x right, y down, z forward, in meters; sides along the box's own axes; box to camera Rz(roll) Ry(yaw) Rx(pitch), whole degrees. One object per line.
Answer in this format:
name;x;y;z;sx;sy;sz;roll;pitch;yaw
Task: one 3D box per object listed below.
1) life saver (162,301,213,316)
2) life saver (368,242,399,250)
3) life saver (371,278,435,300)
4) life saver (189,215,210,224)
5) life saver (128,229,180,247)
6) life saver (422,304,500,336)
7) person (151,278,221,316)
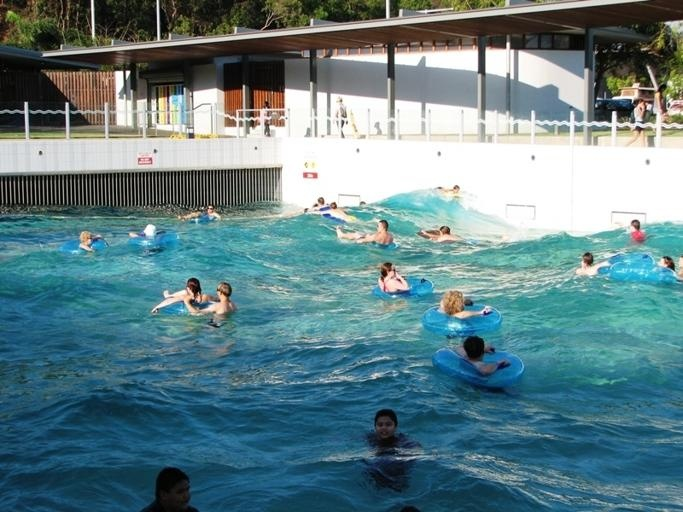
life saver;-3.523;1.169;15.593;0.500;0.121;0.476;0;4;4
life saver;1.457;-0.280;21.759;0.850;0.189;0.354;-1;5;-15
life saver;1.769;0.822;17.018;0.851;0.128;0.686;-13;24;-32
life saver;-4.741;-1.198;24.298;0.391;0.119;0.378;0;11;7
life saver;-5.475;-0.434;20.884;0.748;0.180;0.713;0;5;4
life saver;2.520;1.390;14.661;1.564;0.455;0.731;1;4;7
person;-3.511;0.866;15.878;1.043;0.465;1.012;-11;24;-31
